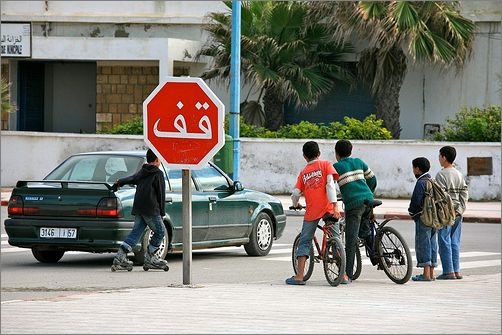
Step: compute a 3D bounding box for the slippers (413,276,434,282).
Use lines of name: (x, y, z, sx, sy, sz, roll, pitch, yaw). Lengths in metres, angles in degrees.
slippers: (3.977, 2.596, 22.993, 0.321, 0.131, 0.193, 4, -3, 12)

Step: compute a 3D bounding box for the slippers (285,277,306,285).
slippers: (0.997, 2.569, 22.531, 0.372, 0.134, 0.181, 2, -4, 13)

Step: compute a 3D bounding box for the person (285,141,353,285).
person: (1.415, 1.045, 22.467, 1.158, 3.242, 0.536, 0, 2, 3)

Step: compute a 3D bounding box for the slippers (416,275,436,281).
slippers: (3.988, 2.543, 23.012, 0.299, 0.122, 0.176, 4, -3, 7)

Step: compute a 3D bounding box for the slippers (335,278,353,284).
slippers: (2.114, 2.584, 22.448, 0.348, 0.161, 0.123, -2, 4, -8)
